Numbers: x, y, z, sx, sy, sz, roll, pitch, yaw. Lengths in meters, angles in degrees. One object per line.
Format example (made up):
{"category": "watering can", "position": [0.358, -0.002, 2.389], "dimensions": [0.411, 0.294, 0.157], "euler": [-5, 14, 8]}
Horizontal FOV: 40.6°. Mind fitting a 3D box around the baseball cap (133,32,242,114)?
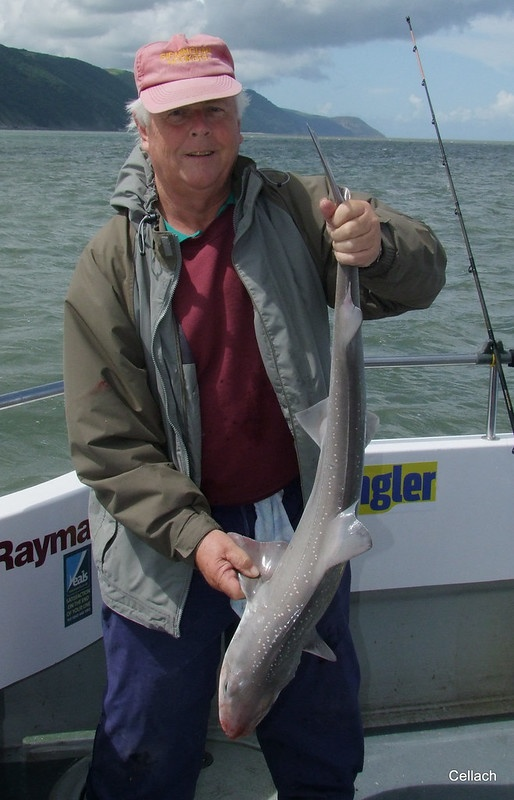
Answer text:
{"category": "baseball cap", "position": [-0.171, -0.744, 1.546], "dimensions": [0.209, 0.083, 0.292], "euler": [-12, 3, 4]}
